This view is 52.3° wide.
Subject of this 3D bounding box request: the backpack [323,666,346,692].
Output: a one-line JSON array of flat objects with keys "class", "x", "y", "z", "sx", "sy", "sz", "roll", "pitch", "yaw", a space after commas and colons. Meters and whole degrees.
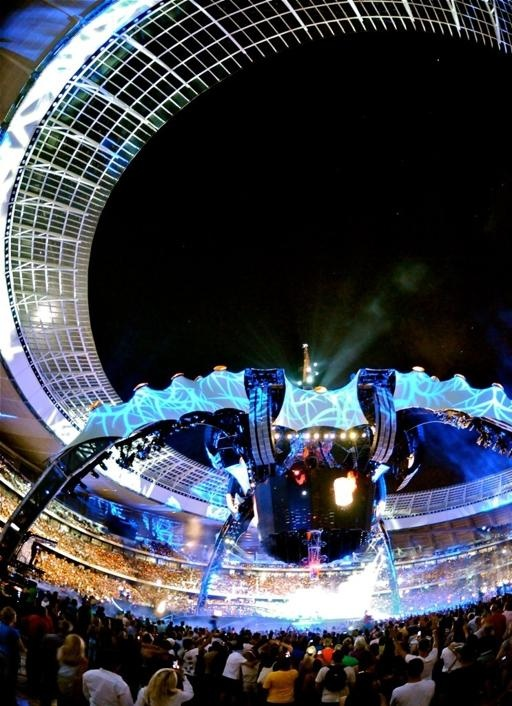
[{"class": "backpack", "x": 1.168, "y": 4.851, "z": 7.768, "sx": 0.321, "sy": 0.366, "sz": 0.345, "roll": 5, "pitch": -30, "yaw": 8}]
